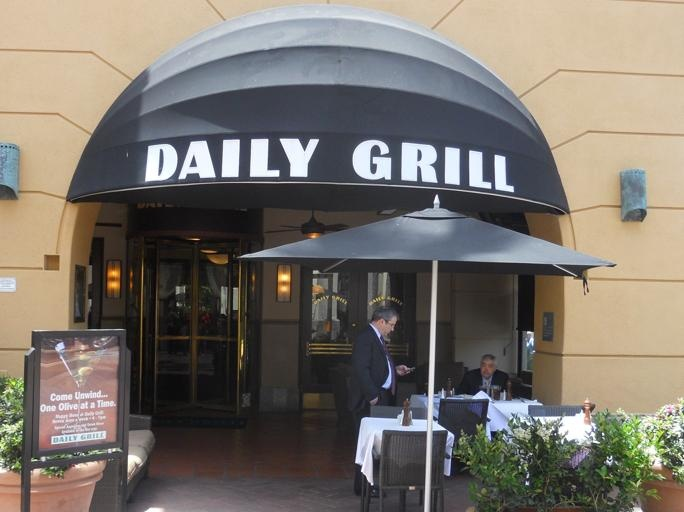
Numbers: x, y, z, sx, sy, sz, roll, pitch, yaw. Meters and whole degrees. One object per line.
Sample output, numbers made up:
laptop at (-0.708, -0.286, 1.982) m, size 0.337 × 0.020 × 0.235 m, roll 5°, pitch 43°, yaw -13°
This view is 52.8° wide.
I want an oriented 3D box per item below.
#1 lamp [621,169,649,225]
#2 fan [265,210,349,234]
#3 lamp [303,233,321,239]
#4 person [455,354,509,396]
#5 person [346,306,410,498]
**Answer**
lamp at (3.832, -0.799, 9.133) m, size 0.336 × 0.690 × 0.174 m, roll 2°, pitch -1°, yaw 9°
fan at (-0.469, -0.522, 12.612) m, size 0.818 × 0.252 × 0.777 m, roll -2°, pitch -5°, yaw 14°
lamp at (-0.476, -0.319, 10.650) m, size 0.227 × 0.099 × 0.231 m, roll 1°, pitch -3°, yaw -29°
person at (2.098, 1.816, 10.296) m, size 0.610 × 1.153 × 0.598 m, roll 3°, pitch 0°, yaw 8°
person at (0.480, 1.882, 9.424) m, size 0.609 × 2.356 × 0.829 m, roll 3°, pitch 6°, yaw 29°
